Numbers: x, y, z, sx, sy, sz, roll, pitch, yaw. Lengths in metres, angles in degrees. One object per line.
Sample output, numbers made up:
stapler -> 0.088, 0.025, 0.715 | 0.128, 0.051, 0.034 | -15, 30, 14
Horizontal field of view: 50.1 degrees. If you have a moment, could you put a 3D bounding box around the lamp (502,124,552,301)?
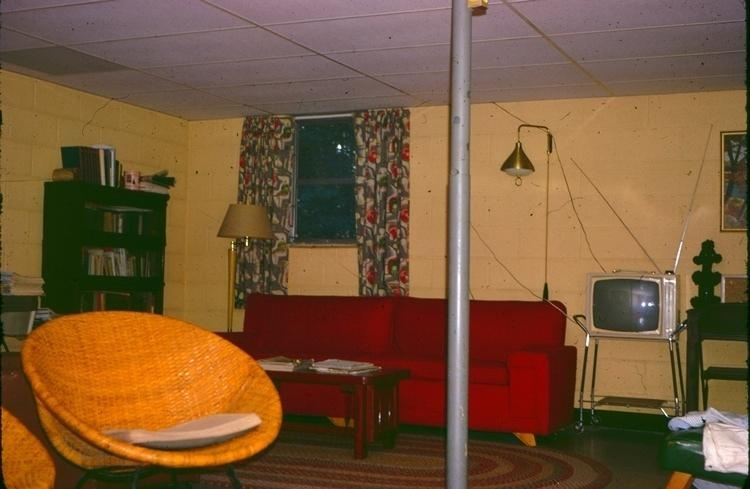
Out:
lamp -> 1.393, -0.329, 7.518 | 0.505, 1.670, 0.375 | 5, -6, -44

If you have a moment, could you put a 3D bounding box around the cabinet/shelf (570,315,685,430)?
cabinet/shelf -> 2.282, 1.148, 7.126 | 1.095, 1.024, 0.433 | 1, -3, 13

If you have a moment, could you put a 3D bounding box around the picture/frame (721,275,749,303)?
picture/frame -> 3.125, 0.393, 6.953 | 0.312, 0.292, 0.031 | -1, -3, 11

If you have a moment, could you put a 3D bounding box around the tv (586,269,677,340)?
tv -> 2.255, 0.527, 7.101 | 0.893, 0.772, 0.525 | -1, -7, 25

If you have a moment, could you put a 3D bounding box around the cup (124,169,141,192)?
cup -> -2.310, -0.626, 7.668 | 0.172, 0.173, 0.171 | 2, 2, 0

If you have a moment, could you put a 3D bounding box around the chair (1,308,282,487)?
chair -> -1.297, 0.759, 4.470 | 1.134, 0.815, 1.155 | 3, 1, 44

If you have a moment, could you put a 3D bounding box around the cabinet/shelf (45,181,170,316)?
cabinet/shelf -> -2.501, 0.034, 7.373 | 0.453, 1.428, 1.285 | -3, -5, 27
